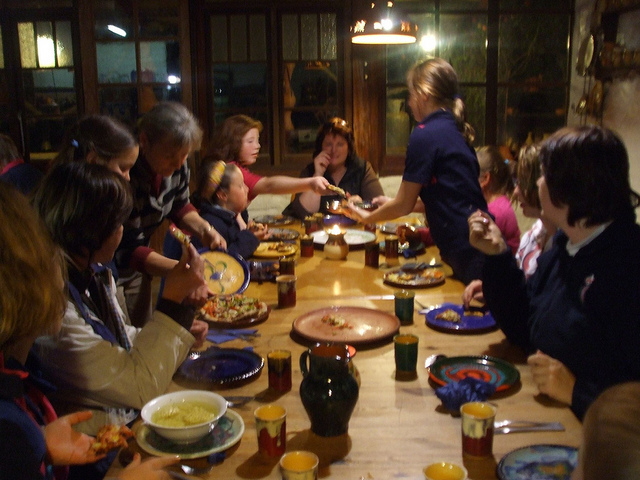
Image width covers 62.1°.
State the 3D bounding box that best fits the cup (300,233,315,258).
[{"bbox_3d":[-0.074,0.039,3.392,0.097,0.182,0.109,0,3,1],"label":"cup"}]

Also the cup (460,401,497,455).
[{"bbox_3d":[0.417,0.507,1.485,0.102,0.142,0.113,-2,5,-8],"label":"cup"}]

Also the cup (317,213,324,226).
[{"bbox_3d":[0.000,-0.160,4.071,0.078,0.122,0.078,0,2,0],"label":"cup"}]

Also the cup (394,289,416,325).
[{"bbox_3d":[0.358,0.284,2.288,0.102,0.180,0.109,-1,2,0],"label":"cup"}]

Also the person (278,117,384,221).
[{"bbox_3d":[0.157,-0.647,4.994,0.751,1.572,0.882,-1,6,3],"label":"person"}]

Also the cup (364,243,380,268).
[{"bbox_3d":[0.310,0.087,3.147,0.105,0.214,0.113,0,1,0],"label":"cup"}]

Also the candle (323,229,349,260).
[{"bbox_3d":[0.103,0.006,3.275,0.151,0.254,0.158,4,8,40],"label":"candle"}]

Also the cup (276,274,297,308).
[{"bbox_3d":[-0.144,0.239,2.493,0.111,0.169,0.116,0,-1,0],"label":"cup"}]

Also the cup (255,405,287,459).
[{"bbox_3d":[-0.134,0.529,1.486,0.082,0.127,0.114,0,8,0],"label":"cup"}]

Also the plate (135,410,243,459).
[{"bbox_3d":[-0.386,0.574,1.547,0.328,0.038,0.192,-4,14,-6],"label":"plate"}]

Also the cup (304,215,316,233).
[{"bbox_3d":[-0.063,-0.128,3.969,0.091,0.155,0.096,0,1,0],"label":"cup"}]

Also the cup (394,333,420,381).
[{"bbox_3d":[0.297,0.406,1.856,0.110,0.195,0.118,0,0,0],"label":"cup"}]

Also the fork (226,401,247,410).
[{"bbox_3d":[-0.274,0.527,1.705,0.034,0.010,0.034,0,6,-44],"label":"fork"}]

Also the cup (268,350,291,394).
[{"bbox_3d":[-0.131,0.442,1.802,0.069,0.135,0.124,1,13,6],"label":"cup"}]
